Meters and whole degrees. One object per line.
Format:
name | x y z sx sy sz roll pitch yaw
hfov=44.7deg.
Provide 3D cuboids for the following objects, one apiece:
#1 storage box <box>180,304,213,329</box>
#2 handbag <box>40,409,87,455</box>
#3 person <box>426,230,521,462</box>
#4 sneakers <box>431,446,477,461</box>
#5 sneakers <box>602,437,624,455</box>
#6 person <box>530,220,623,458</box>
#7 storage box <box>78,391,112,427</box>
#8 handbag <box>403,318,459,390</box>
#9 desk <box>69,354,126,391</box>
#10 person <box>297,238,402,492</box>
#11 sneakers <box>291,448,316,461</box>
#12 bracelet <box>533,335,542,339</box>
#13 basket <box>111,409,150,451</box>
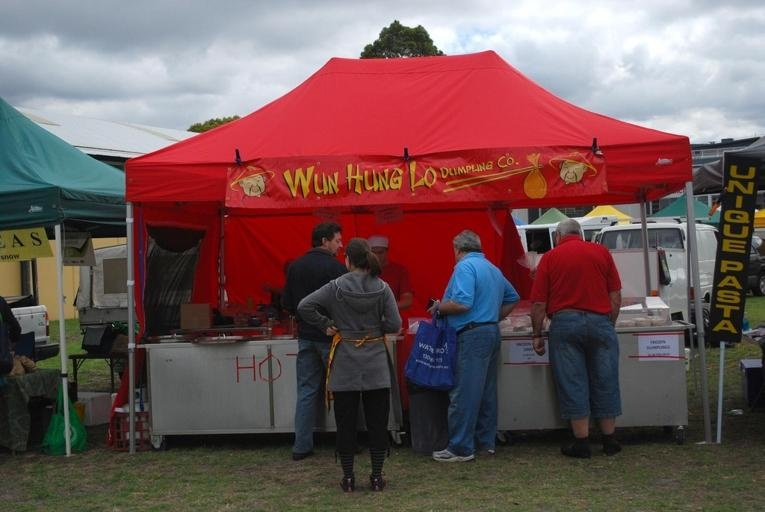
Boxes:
storage box | -2.199 0.698 10.814 0.310 0.290 0.266 3 2 -8
handbag | -3.770 2.041 10.951 0.527 0.532 0.493 1 -3 8
person | 0.956 0.994 10.263 0.950 2.453 0.463 -8 10 -34
sneakers | 0.788 2.182 10.292 0.458 0.197 0.161 3 -6 1
sneakers | 2.550 2.087 10.276 0.122 0.201 0.316 -2 0 32
person | 2.133 0.909 10.228 0.963 2.544 0.538 0 9 12
storage box | -3.776 1.992 12.126 0.426 0.292 0.435 -5 -5 39
handbag | 0.507 1.074 10.152 0.555 0.798 0.228 0 9 13
desk | -4.240 1.718 13.645 0.793 0.458 0.774 -1 -2 10
person | -0.286 1.115 9.511 0.935 2.558 0.443 -2 8 0
sneakers | -0.909 2.217 10.421 0.272 0.107 0.090 -2 5 -31
bracelet | 1.725 0.891 10.336 0.057 0.040 0.054 -1 -1 -10
basket | -2.990 2.045 11.009 0.540 0.434 0.546 3 -2 -24
